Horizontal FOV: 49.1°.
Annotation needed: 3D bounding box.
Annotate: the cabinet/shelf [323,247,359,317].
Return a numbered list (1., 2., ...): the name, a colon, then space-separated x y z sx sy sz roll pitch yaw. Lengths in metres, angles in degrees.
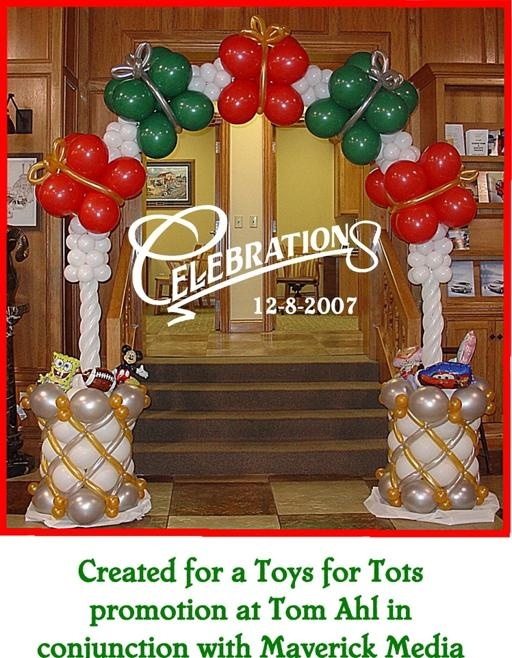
1. cabinet/shelf: 1.457 -0.909 9.703 0.455 0.660 0.785 -2 6 -13

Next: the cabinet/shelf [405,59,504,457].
1. cabinet/shelf: 1.614 -0.544 4.132 0.762 2.841 0.824 -3 -7 6

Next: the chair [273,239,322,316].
1. chair: 0.688 -0.732 9.136 0.910 1.254 0.972 1 1 10

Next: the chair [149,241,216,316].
1. chair: -1.391 -0.859 9.823 1.191 1.532 1.099 2 8 2

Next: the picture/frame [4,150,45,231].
1. picture/frame: -1.641 -0.983 3.972 0.252 0.514 0.128 -1 -7 -6
